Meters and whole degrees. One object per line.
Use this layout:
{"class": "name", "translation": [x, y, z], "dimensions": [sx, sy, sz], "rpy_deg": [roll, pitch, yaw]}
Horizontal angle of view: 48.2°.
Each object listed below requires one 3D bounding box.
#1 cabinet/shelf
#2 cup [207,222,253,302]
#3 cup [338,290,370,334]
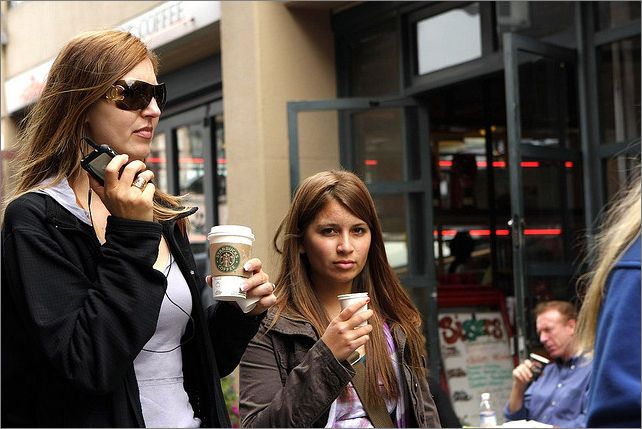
{"class": "cabinet/shelf", "translation": [1.990, -0.136, 6.314], "dimensions": [0.669, 1.509, 1.204], "rpy_deg": [-6, 5, -30]}
{"class": "cup", "translation": [-0.376, 0.221, 3.223], "dimensions": [0.215, 0.340, 0.194], "rpy_deg": [-2, -4, 21]}
{"class": "cup", "translation": [0.152, 0.425, 3.396], "dimensions": [0.138, 0.091, 0.104], "rpy_deg": [-2, -3, -1]}
